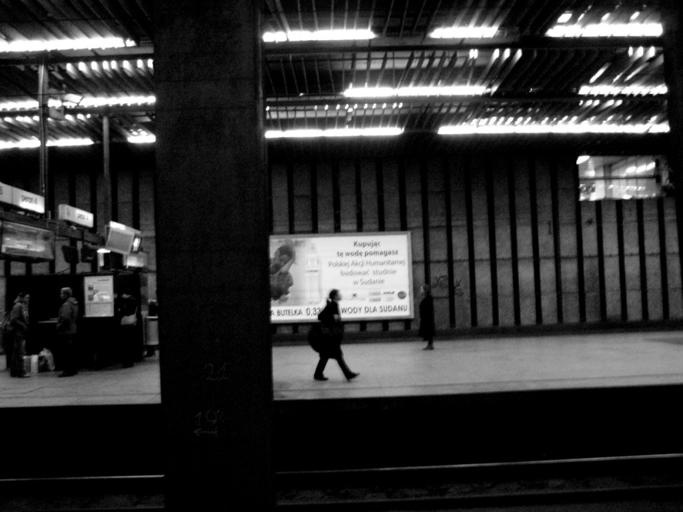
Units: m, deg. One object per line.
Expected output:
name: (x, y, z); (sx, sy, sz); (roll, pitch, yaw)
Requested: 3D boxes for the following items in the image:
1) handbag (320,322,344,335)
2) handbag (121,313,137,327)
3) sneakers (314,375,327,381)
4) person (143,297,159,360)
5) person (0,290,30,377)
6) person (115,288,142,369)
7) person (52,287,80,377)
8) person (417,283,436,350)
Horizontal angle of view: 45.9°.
handbag: (-0.116, 1.437, 15.972); (0.355, 0.261, 0.844); (-4, -1, 21)
handbag: (-4.741, 1.424, 18.005); (0.387, 0.268, 0.187); (-2, -2, -38)
sneakers: (-0.415, 2.388, 15.871); (0.266, 0.128, 0.093); (-1, -3, 3)
person: (-4.603, 1.747, 19.359); (0.305, 1.334, 1.130); (-3, -2, -14)
person: (-7.056, 1.689, 17.455); (0.524, 1.749, 1.362); (-2, -2, -23)
person: (-4.760, 1.620, 18.043); (0.285, 1.643, 0.507); (-4, -2, 17)
person: (-5.863, 1.591, 17.247); (0.448, 1.846, 0.838); (-2, -2, -19)
person: (2.017, 1.443, 19.170); (0.359, 1.094, 1.191); (-3, -2, 5)
